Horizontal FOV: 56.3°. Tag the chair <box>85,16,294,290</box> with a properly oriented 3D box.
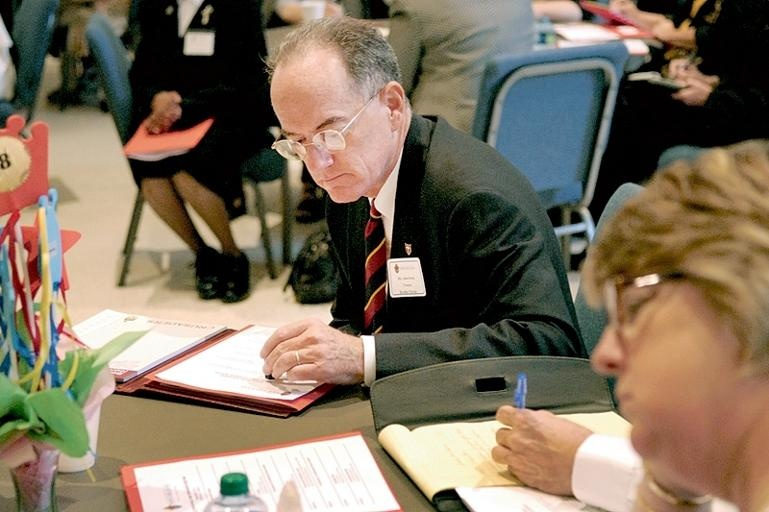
[{"bbox_3d":[-0.821,-0.728,4.119,1.214,1.577,0.916,-6,21,-4],"label":"chair"}]

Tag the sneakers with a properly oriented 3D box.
[{"bbox_3d":[-0.817,0.103,3.713,0.247,0.301,0.140,1,4,4],"label":"sneakers"}]

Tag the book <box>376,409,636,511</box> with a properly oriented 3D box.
[{"bbox_3d":[0.130,0.374,1.341,0.306,0.031,0.163,-7,22,-20],"label":"book"}]

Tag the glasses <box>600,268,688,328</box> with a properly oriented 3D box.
[{"bbox_3d":[0.318,0.048,0.893,0.079,0.056,0.028,-24,-12,24],"label":"glasses"}]

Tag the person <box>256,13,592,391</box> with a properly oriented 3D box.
[{"bbox_3d":[0.113,-0.104,2.169,0.917,0.916,0.978,-3,-5,-28],"label":"person"}]

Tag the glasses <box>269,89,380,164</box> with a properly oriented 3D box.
[{"bbox_3d":[-0.157,-0.292,1.868,0.202,0.062,0.200,-45,19,-30],"label":"glasses"}]
